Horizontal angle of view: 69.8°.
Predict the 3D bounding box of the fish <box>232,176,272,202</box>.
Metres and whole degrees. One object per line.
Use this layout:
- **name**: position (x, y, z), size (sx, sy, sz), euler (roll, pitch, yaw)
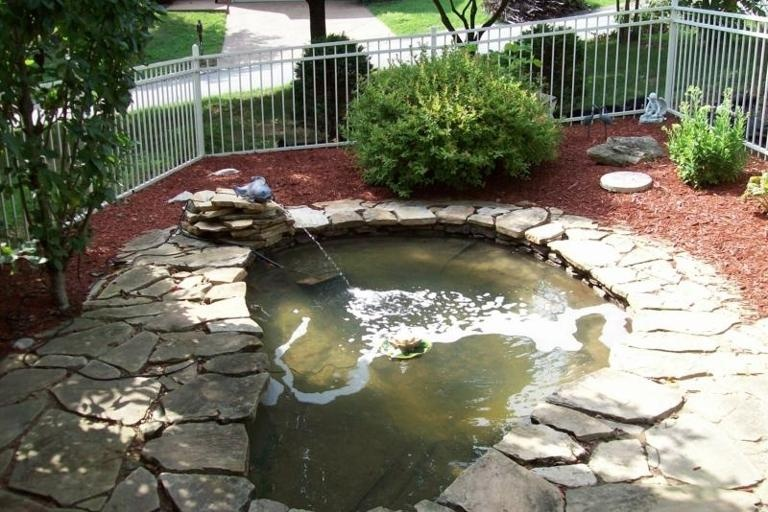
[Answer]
- **fish**: position (-1.847, -0.958, 7.829), size (0.614, 0.313, 0.353), euler (12, 22, 26)
